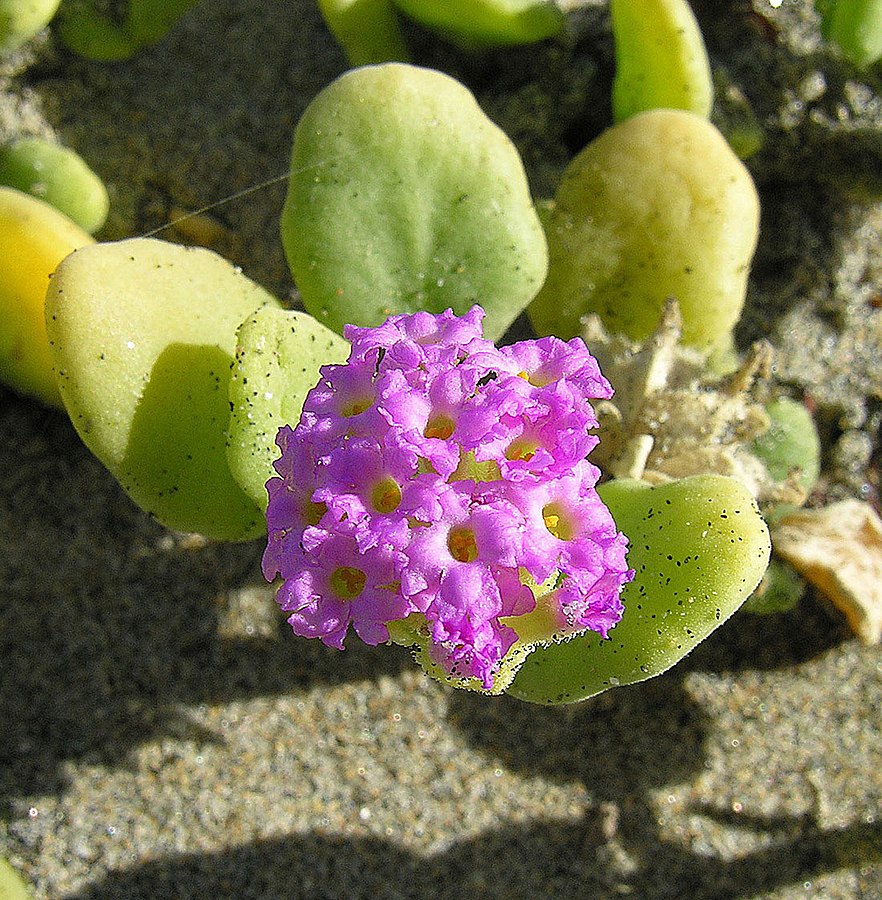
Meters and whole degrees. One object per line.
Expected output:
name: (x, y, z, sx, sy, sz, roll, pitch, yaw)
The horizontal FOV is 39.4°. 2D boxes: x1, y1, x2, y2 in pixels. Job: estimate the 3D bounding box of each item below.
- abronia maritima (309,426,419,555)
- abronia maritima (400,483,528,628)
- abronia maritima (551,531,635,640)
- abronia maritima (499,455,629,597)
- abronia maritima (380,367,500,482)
abronia maritima: (-0.094, 0.054, 1.510, 0.145, 0.113, 0.139, 15, 83, 1)
abronia maritima: (0.036, 0.121, 1.479, 0.059, 0.160, 0.167, 11, 28, 14)
abronia maritima: (0.200, 0.147, 1.553, 0.069, 0.117, 0.124, 23, 51, 1)
abronia maritima: (0.137, 0.087, 1.511, 0.051, 0.138, 0.144, 0, 84, -27)
abronia maritima: (0.001, -0.040, 1.520, 0.121, 0.131, 0.050, 18, 88, 4)
